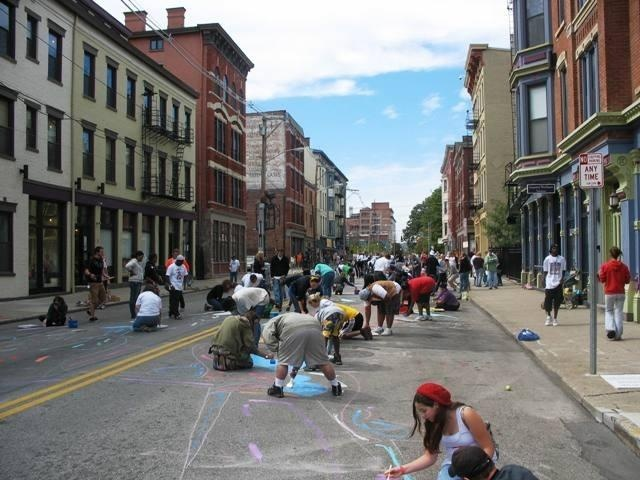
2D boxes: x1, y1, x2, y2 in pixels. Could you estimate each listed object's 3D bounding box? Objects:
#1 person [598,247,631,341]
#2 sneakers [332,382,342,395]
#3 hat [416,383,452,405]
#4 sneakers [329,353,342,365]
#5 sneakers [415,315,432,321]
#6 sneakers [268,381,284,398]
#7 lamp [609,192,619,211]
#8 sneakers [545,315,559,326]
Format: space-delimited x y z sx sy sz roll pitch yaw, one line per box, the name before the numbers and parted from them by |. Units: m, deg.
person | 6.713 1.192 13.287 0.611 2.125 0.939 -4 -5 29
sneakers | 0.245 2.407 9.294 0.093 0.231 0.227 2 -19 -2
hat | 1.142 1.594 5.769 0.288 0.111 0.237 27 -3 -32
sneakers | 0.280 2.306 11.395 0.143 0.176 0.373 -1 6 -26
sneakers | 3.180 2.419 17.955 0.187 0.230 0.503 6 -7 -43
sneakers | -0.691 2.359 9.121 0.255 0.201 0.224 -1 -5 -6
lamp | 8.690 -1.157 17.299 0.192 0.597 0.740 -3 -5 20
sneakers | 6.180 2.137 15.589 0.220 0.304 0.653 0 -1 24
